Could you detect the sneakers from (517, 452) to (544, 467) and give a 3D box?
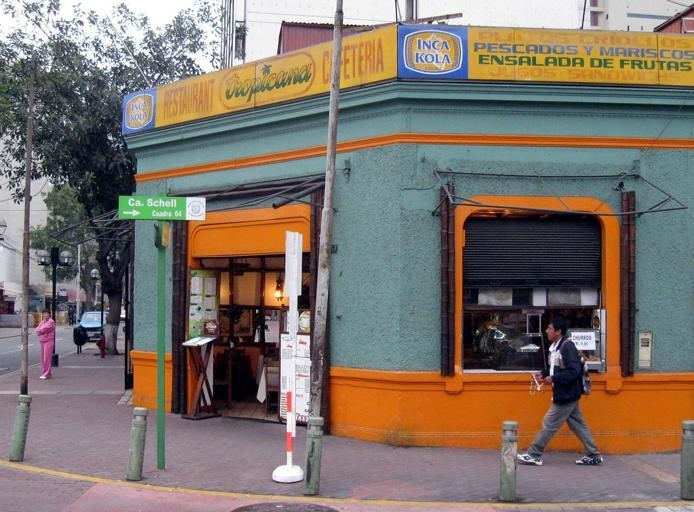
[{"bbox_3d":[3.297,3.684,16.198,0.547,0.253,0.196,7,-2,11],"label":"sneakers"}]

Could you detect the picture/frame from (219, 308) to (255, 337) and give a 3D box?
[{"bbox_3d":[-2.711,1.593,21.570,0.842,0.658,0.076,2,3,-10],"label":"picture/frame"}]

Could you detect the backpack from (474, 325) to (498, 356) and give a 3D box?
[{"bbox_3d":[2.697,1.677,17.369,0.544,0.712,0.386,3,-11,-3],"label":"backpack"}]

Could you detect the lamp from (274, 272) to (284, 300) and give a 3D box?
[{"bbox_3d":[-1.654,0.760,21.498,0.215,0.635,0.292,-3,6,-37],"label":"lamp"}]

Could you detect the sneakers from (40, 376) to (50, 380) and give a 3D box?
[{"bbox_3d":[-8.847,3.539,25.804,0.303,0.121,0.106,4,-4,4],"label":"sneakers"}]

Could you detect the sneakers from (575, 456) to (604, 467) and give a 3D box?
[{"bbox_3d":[4.431,3.720,16.179,0.520,0.220,0.184,2,-6,3],"label":"sneakers"}]

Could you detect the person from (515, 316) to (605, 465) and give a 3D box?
[{"bbox_3d":[3.883,2.472,16.142,1.416,2.652,0.674,1,5,9],"label":"person"}]
